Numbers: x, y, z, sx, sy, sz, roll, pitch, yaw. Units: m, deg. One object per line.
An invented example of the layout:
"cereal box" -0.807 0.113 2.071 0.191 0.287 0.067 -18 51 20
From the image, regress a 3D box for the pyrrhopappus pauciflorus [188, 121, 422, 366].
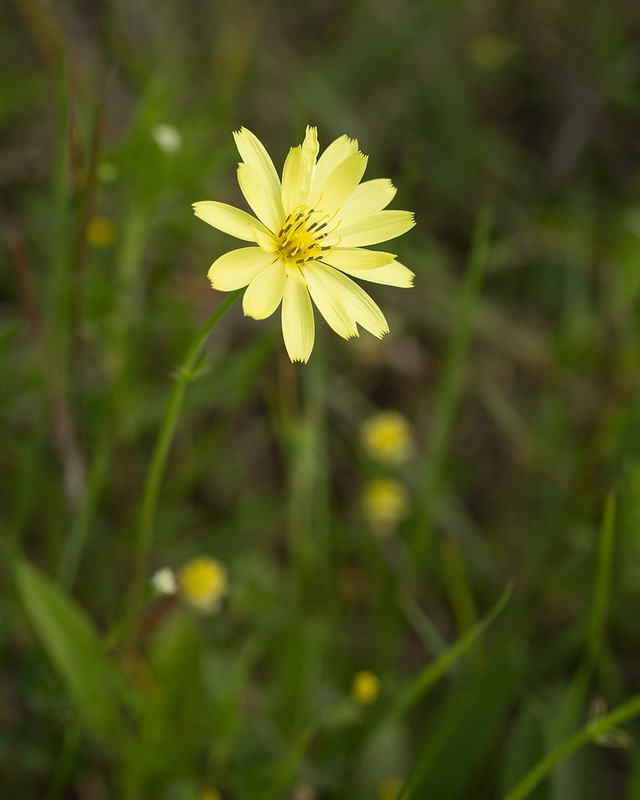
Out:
"pyrrhopappus pauciflorus" -0.011 -0.153 0.684 0.183 0.078 0.218 16 -24 5
